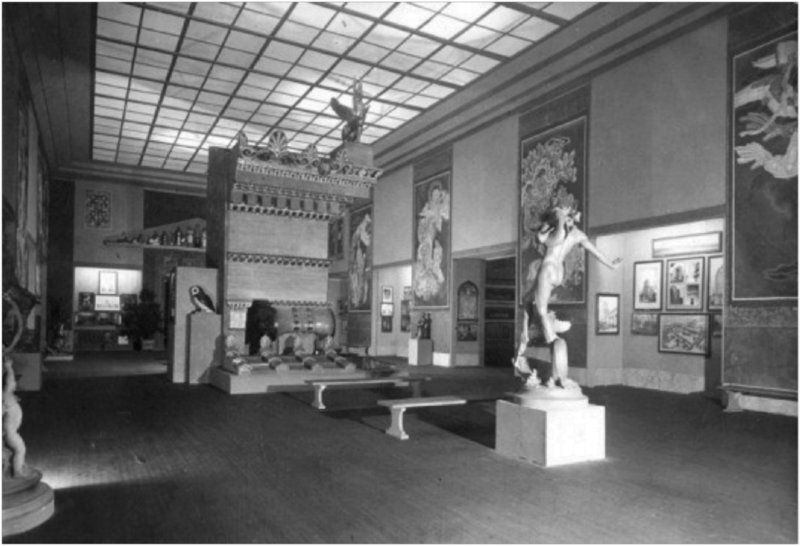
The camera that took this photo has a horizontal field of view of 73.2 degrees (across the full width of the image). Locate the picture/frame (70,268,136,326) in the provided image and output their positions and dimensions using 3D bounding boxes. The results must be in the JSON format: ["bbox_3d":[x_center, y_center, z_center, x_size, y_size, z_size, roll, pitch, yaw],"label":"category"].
[{"bbox_3d":[-14.584,1.194,26.432,2.531,2.649,0.869,1,-6,-29],"label":"picture/frame"}]

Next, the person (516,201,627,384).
[{"bbox_3d":[2.268,0.294,7.829,1.163,2.529,0.694,1,0,13],"label":"person"}]

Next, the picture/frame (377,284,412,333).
[{"bbox_3d":[-0.147,1.597,23.750,1.500,1.775,0.693,1,0,41],"label":"picture/frame"}]

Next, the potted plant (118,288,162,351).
[{"bbox_3d":[-12.196,2.241,25.688,1.666,2.909,1.525,1,0,-3],"label":"potted plant"}]

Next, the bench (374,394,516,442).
[{"bbox_3d":[0.499,2.304,8.754,1.725,0.584,0.547,1,0,-19],"label":"bench"}]
